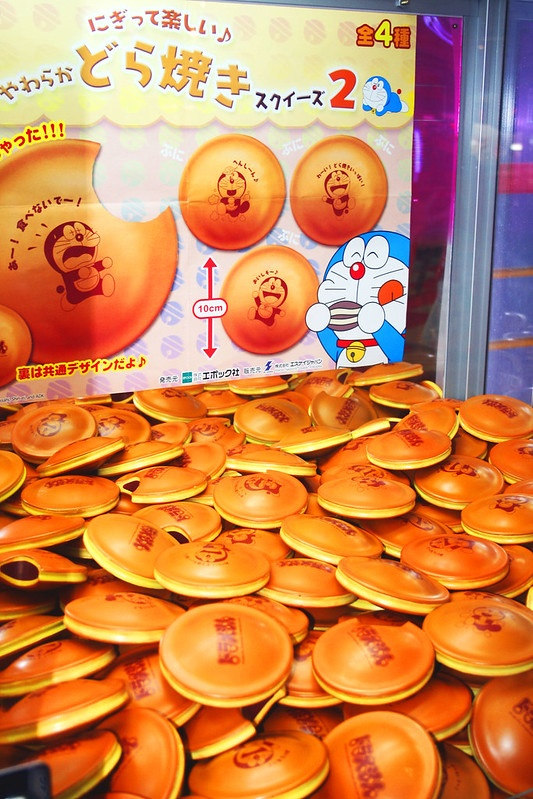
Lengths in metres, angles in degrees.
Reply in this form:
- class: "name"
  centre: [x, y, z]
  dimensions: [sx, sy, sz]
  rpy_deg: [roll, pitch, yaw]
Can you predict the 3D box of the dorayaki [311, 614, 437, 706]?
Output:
- class: "dorayaki"
  centre: [0.213, 0.526, 1.371]
  dimensions: [0.195, 0.049, 0.188]
  rpy_deg: [-17, 24, -21]
